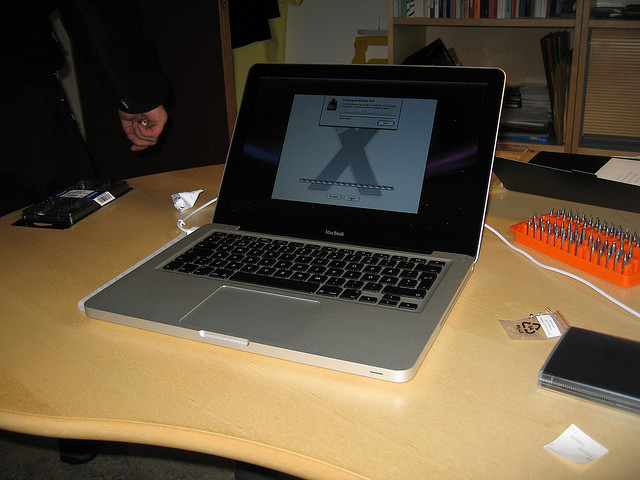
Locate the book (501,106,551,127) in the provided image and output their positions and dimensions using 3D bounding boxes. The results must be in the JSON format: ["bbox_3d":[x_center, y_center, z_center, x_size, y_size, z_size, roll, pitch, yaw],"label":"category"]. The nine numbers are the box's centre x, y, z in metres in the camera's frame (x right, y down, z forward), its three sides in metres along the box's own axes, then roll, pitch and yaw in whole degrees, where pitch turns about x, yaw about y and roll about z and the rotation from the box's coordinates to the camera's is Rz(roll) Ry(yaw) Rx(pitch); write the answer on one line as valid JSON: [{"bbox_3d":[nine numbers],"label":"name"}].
[{"bbox_3d":[0.877,-0.523,1.976,0.186,0.072,0.061,12,30,17],"label":"book"}]

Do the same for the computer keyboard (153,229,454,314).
[{"bbox_3d":[-0.028,0.044,0.680,0.432,0.021,0.149,8,37,21],"label":"computer keyboard"}]

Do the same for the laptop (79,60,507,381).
[{"bbox_3d":[-0.028,-0.067,0.655,0.521,0.247,0.494,17,38,35],"label":"laptop"}]
